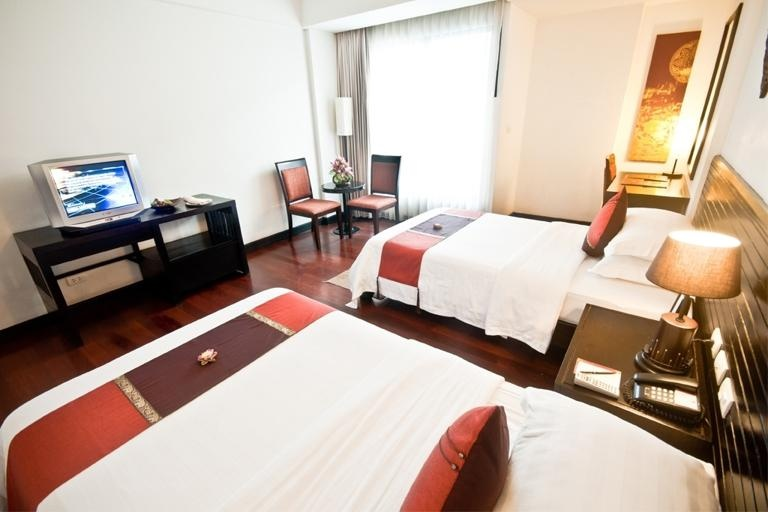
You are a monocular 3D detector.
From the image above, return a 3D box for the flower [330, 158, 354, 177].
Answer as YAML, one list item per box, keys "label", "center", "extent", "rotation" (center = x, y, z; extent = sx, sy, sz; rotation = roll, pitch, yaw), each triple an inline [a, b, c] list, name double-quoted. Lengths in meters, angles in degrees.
- label: "flower"
  center: [-0.527, -1.088, 5.781]
  extent: [0.297, 0.190, 0.295]
  rotation: [1, 7, 3]

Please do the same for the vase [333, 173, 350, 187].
- label: "vase"
  center: [-0.529, -0.967, 5.707]
  extent: [0.169, 0.120, 0.172]
  rotation: [1, 14, 8]

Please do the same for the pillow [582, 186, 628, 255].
- label: "pillow"
  center: [1.933, -0.272, 3.951]
  extent: [0.301, 0.585, 0.651]
  rotation: [2, 0, 23]

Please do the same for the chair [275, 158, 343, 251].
- label: "chair"
  center: [-0.941, -0.686, 5.676]
  extent: [0.726, 0.995, 0.533]
  rotation: [18, 31, 35]

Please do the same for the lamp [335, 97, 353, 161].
- label: "lamp"
  center: [-0.523, -1.701, 6.130]
  extent: [0.243, 0.846, 0.341]
  rotation: [-3, 25, -3]

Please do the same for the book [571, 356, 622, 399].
- label: "book"
  center: [1.281, 0.724, 2.730]
  extent: [0.203, 0.050, 0.205]
  rotation: [15, 29, 29]

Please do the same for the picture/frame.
- label: "picture/frame"
  center: [3.267, -1.610, 4.542]
  extent: [0.124, 1.612, 1.367]
  rotation: [15, 29, 31]

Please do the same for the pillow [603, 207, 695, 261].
- label: "pillow"
  center: [2.054, -0.221, 3.535]
  extent: [0.461, 0.132, 0.523]
  rotation: [11, 46, 44]

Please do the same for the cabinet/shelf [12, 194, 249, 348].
- label: "cabinet/shelf"
  center: [-2.370, 0.151, 4.113]
  extent: [0.422, 0.706, 1.194]
  rotation: [23, 38, 30]

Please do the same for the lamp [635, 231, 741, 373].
- label: "lamp"
  center: [1.792, 0.325, 2.727]
  extent: [0.422, 0.924, 0.416]
  rotation: [-7, 24, -24]

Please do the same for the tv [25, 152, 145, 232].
- label: "tv"
  center: [-2.610, -0.548, 3.911]
  extent: [0.298, 0.468, 0.550]
  rotation: [14, 28, 31]

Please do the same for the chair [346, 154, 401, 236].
- label: "chair"
  center: [-0.121, -0.779, 5.841]
  extent: [0.478, 0.955, 0.646]
  rotation: [12, 25, 30]

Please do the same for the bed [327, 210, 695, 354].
- label: "bed"
  center: [1.264, 0.005, 4.347]
  extent: [2.741, 1.145, 1.839]
  rotation: [11, 24, 30]
